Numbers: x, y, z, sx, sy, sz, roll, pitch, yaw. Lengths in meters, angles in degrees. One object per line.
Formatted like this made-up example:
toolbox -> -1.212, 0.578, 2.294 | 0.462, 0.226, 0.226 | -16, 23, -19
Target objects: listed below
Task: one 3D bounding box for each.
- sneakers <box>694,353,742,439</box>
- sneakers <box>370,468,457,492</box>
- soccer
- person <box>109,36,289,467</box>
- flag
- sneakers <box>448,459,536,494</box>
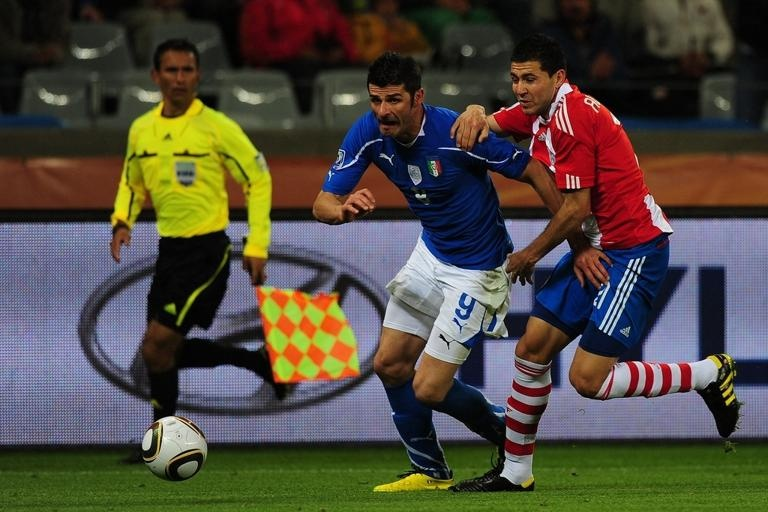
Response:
sneakers -> 2.142, 0.886, 7.385 | 0.260, 0.586, 0.200 | -23, 17, -25
sneakers -> 0.186, 1.431, 7.411 | 0.535, 0.156, 0.172 | 1, -14, 0
soccer -> -1.245, 1.160, 7.203 | 0.397, 0.380, 0.370 | 5, 12, -6
person -> -1.270, -0.176, 7.802 | 1.044, 2.499, 0.322 | -1, 5, -6
flag -> -0.545, 0.369, 8.016 | 0.983, 1.058, 0.117 | -5, -15, -21
sneakers -> 0.654, 1.381, 7.327 | 0.488, 0.200, 0.182 | 3, -18, 1
